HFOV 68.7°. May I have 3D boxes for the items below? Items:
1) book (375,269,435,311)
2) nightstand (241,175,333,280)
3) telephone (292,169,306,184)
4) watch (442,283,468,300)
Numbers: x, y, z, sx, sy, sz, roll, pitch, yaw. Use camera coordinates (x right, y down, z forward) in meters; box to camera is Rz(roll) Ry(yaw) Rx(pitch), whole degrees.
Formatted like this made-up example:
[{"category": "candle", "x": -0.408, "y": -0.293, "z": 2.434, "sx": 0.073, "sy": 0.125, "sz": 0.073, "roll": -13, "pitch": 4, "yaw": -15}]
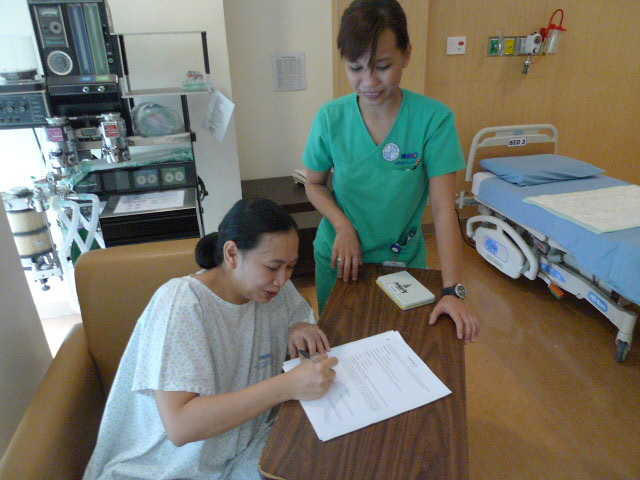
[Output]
[{"category": "book", "x": 0.310, "y": 0.187, "z": 1.759, "sx": 0.164, "sy": 0.030, "sz": 0.216, "roll": -3, "pitch": 28, "yaw": -22}, {"category": "nightstand", "x": -0.240, "y": -0.117, "z": 3.529, "sx": 0.625, "sy": 0.730, "sz": 0.686, "roll": -5, "pitch": 19, "yaw": -16}, {"category": "telephone", "x": -0.147, "y": -0.456, "z": 3.346, "sx": 0.139, "sy": 0.052, "sz": 0.143, "roll": -18, "pitch": 30, "yaw": -33}, {"category": "watch", "x": 0.483, "y": 0.183, "z": 1.703, "sx": 0.072, "sy": 0.053, "sz": 0.070, "roll": -1, "pitch": -14, "yaw": -25}]
